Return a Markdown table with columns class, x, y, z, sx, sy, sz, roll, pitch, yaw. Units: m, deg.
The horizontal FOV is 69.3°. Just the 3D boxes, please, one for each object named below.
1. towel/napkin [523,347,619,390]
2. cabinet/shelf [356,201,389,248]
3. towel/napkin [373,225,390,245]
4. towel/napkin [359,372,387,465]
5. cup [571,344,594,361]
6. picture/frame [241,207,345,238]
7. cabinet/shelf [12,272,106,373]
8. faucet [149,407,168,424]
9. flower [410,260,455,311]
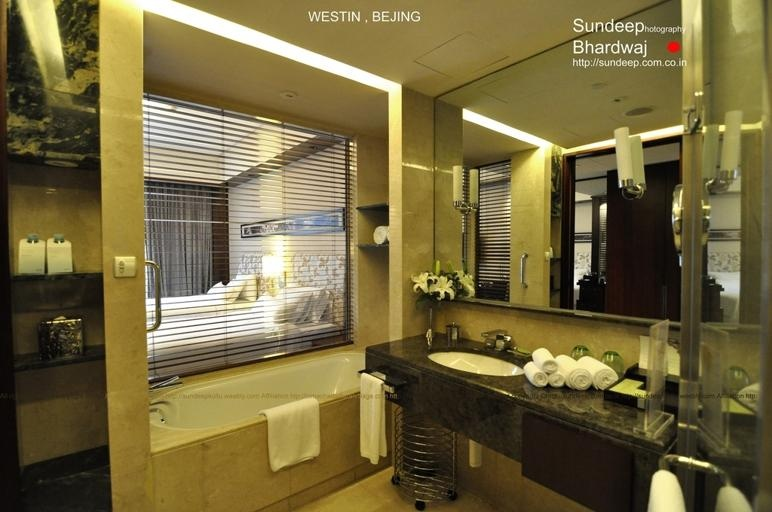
| class | x | y | z | sx | sy | sz | roll | pitch | yaw |
| --- | --- | --- | --- | --- | --- | --- | --- | --- | --- |
| towel/napkin | 0.957 | 0.623 | 3.013 | 0.264 | 0.114 | 0.267 | -2 | -1 | -21 |
| cabinet/shelf | -0.127 | -0.263 | 4.756 | 0.288 | 0.386 | 0.407 | 2 | -4 | -41 |
| towel/napkin | -0.040 | -0.172 | 4.671 | 0.059 | 0.149 | 0.147 | 2 | 2 | -32 |
| towel/napkin | -0.074 | 1.033 | 3.568 | 0.141 | 0.543 | 0.182 | -1 | 0 | -23 |
| cup | 1.115 | 0.550 | 3.174 | 0.083 | 0.077 | 0.081 | 1 | 2 | 0 |
| picture/frame | -0.730 | -0.266 | 4.526 | 0.972 | 0.222 | 0.039 | 0 | -1 | -41 |
| cabinet/shelf | -1.907 | 0.387 | 3.215 | 0.608 | 0.560 | 0.198 | 1 | -5 | -37 |
| faucet | -1.468 | 1.027 | 3.619 | 0.138 | 0.117 | 0.104 | -11 | -9 | 42 |
| flower | 0.325 | 0.216 | 3.854 | 0.313 | 0.304 | 0.127 | 12 | -10 | -36 |
